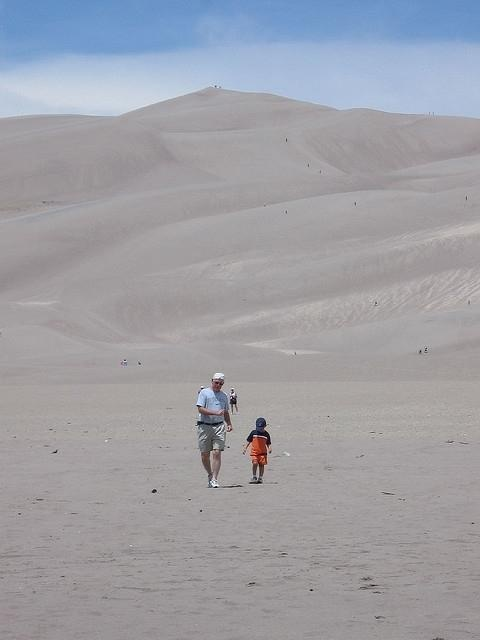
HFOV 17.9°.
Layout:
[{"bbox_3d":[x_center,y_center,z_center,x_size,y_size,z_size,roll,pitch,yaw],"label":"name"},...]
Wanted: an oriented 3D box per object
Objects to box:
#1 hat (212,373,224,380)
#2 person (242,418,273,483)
[{"bbox_3d":[-0.211,0.555,15.148,0.113,0.103,0.083,-5,-3,41],"label":"hat"},{"bbox_3d":[0.206,1.432,16.635,0.376,0.407,0.952,2,47,-3],"label":"person"}]
